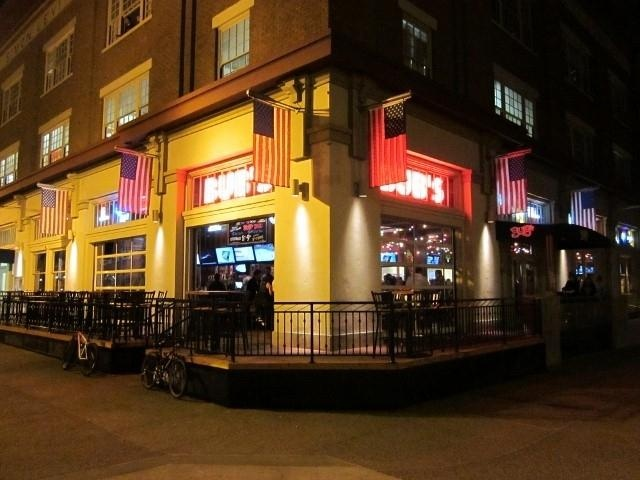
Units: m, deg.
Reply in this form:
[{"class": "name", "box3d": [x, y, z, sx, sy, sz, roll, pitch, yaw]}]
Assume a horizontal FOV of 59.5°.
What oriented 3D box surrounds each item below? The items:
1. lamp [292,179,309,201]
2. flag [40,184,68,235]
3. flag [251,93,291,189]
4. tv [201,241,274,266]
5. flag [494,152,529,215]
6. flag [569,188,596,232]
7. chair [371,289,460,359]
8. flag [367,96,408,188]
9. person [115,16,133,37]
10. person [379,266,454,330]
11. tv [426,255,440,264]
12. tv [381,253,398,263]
[{"class": "lamp", "box3d": [-0.516, -1.376, 15.723, 0.505, 0.565, 0.527, 3, -3, -21]}, {"class": "flag", "box3d": [-11.446, -1.281, 24.161, 1.163, 2.152, 0.587, -3, 4, -39]}, {"class": "flag", "box3d": [-1.302, -2.669, 15.594, 1.346, 2.344, 0.464, -3, 5, -42]}, {"class": "tv", "box3d": [-2.860, 0.514, 19.157, 2.450, 0.711, 0.969, -1, 4, -17]}, {"class": "flag", "box3d": [7.008, -2.100, 20.436, 1.077, 2.292, 0.612, 1, 3, 15]}, {"class": "flag", "box3d": [11.777, -1.397, 25.169, 1.765, 1.959, 0.110, 3, -1, -30]}, {"class": "chair", "box3d": [2.299, 2.111, 13.667, 0.865, 1.147, 1.529, -3, -5, 45]}, {"class": "flag", "box3d": [1.915, -2.730, 15.757, 1.310, 2.461, 0.308, 3, 5, 41]}, {"class": "person", "box3d": [-8.003, -8.834, 23.114, 0.693, 0.967, 0.274, 24, 11, 34]}, {"class": "person", "box3d": [2.770, 1.668, 16.454, 1.524, 1.072, 1.556, -1, 1, -36]}, {"class": "tv", "box3d": [3.774, 0.648, 18.537, 0.111, 0.341, 0.833, 3, 5, 41]}, {"class": "tv", "box3d": [2.132, 0.537, 17.018, 0.168, 0.342, 0.803, 2, 5, 33]}]
